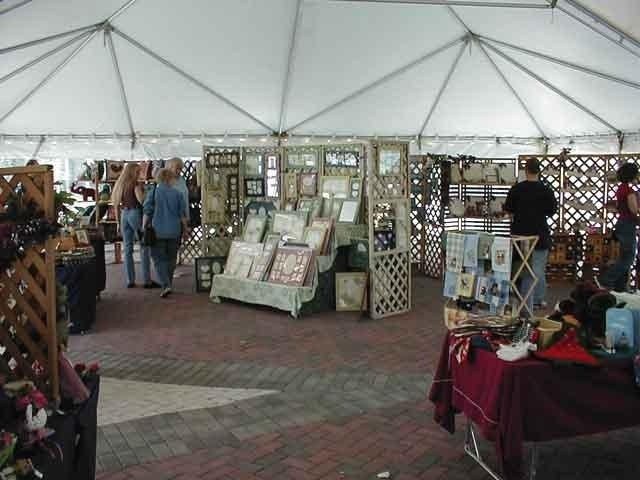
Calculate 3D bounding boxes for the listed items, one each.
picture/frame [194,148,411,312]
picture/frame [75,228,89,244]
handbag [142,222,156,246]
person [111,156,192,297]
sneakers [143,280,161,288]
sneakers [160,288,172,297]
[{"bbox_3d":[-0.269,-0.255,8.133,3.437,2.488,1.563,5,9,31],"label":"picture/frame"},{"bbox_3d":[-3.073,-0.049,6.742,0.044,0.185,0.171,-9,-7,34],"label":"picture/frame"},{"bbox_3d":[-2.679,-0.080,8.215,0.239,0.493,0.293,-1,3,-15],"label":"handbag"},{"bbox_3d":[-2.877,-0.221,8.934,0.747,2.198,1.499,-6,10,-40],"label":"person"},{"bbox_3d":[-2.960,0.786,9.232,0.342,0.152,0.121,0,3,-17],"label":"sneakers"},{"bbox_3d":[-2.521,0.853,8.521,0.173,0.151,0.245,-3,9,-18],"label":"sneakers"}]
